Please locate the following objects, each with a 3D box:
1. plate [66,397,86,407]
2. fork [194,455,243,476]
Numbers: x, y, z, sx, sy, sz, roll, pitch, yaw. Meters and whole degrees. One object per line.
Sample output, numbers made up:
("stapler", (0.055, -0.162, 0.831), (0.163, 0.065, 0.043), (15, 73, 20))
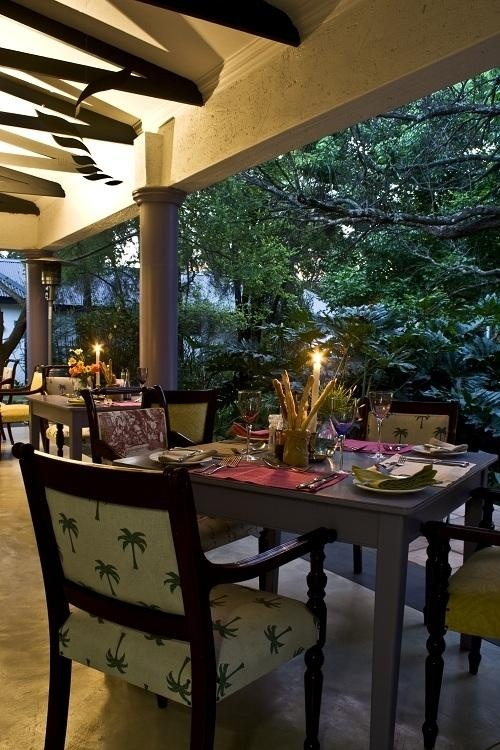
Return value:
("plate", (-1.203, 0.181, 3.556), (0.106, 0.029, 0.115), (1, 6, -2))
("fork", (-0.076, 0.229, 1.347), (0.036, 0.021, 0.136), (0, 6, 22))
